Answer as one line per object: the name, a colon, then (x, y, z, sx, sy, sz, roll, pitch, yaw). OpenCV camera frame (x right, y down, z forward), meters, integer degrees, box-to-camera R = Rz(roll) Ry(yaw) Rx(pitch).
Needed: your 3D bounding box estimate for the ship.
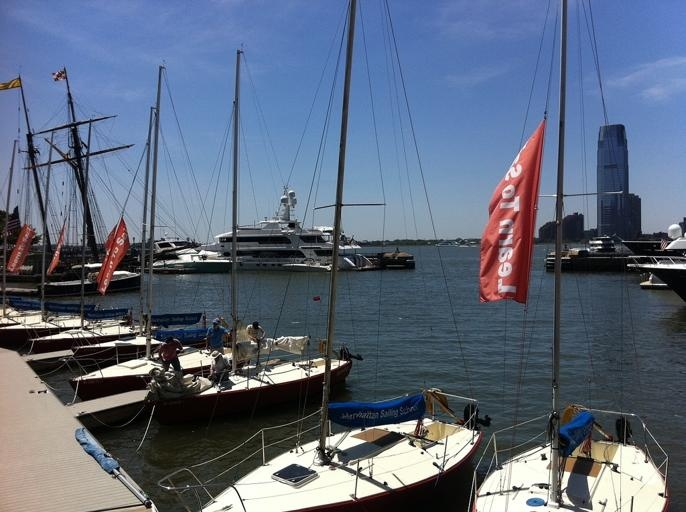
ship: (-13.289, -0.467, 84.825, 39.614, 14.037, 11.879, 1, 0, 0)

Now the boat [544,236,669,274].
boat: (28.329, 0.170, 67.898, 13.225, 4.668, 14.156, -1, 3, -18)

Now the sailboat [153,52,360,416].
sailboat: (-3.072, 0.498, 24.681, 9.026, 10.417, 2.415, -5, 5, -40)

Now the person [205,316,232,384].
person: (-4.699, 3.672, 24.076, 0.925, 2.635, 0.972, -1, 0, -7)

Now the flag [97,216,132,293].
flag: (-11.309, 0.048, 31.125, 1.190, 4.411, 0.361, 19, 5, 13)
